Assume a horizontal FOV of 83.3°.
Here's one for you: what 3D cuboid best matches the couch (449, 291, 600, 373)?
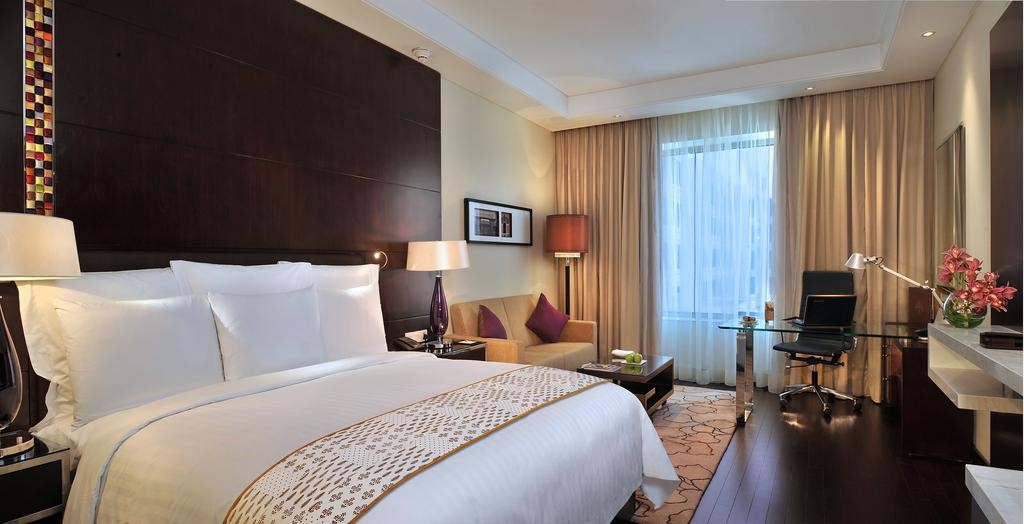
[{"bbox_3d":[0.210,1.028,7.366,1.056,1.049,2.047,3,4,32],"label":"couch"}]

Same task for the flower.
[{"bbox_3d":[4.290,0.154,5.424,0.636,0.623,0.680,5,0,37],"label":"flower"}]

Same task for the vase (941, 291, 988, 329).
[{"bbox_3d":[4.088,0.426,5.267,0.361,0.308,0.342,-2,-3,-2],"label":"vase"}]

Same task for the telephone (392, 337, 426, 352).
[{"bbox_3d":[-1.099,0.897,6.300,0.181,0.067,0.237,0,3,-43],"label":"telephone"}]

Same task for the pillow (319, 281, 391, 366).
[{"bbox_3d":[-1.521,0.590,5.506,0.661,0.655,0.207,-2,-12,-42],"label":"pillow"}]

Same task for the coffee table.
[{"bbox_3d":[1.357,1.163,6.491,0.663,0.500,1.106,-1,-2,29],"label":"coffee table"}]

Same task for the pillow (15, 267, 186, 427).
[{"bbox_3d":[-3.488,0.675,4.615,1.293,1.127,0.362,0,-7,-43],"label":"pillow"}]

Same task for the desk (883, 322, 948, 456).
[{"bbox_3d":[4.124,1.289,5.826,0.424,0.777,1.475,0,-2,28],"label":"desk"}]

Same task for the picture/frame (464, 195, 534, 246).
[{"bbox_3d":[-0.165,-0.538,7.769,0.101,0.601,1.315,-3,-1,39],"label":"picture/frame"}]

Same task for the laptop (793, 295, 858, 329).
[{"bbox_3d":[3.431,0.527,6.203,0.528,0.336,0.388,1,1,7],"label":"laptop"}]

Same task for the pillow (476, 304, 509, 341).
[{"bbox_3d":[-0.302,0.734,7.182,0.316,0.359,0.523,9,-1,7],"label":"pillow"}]
